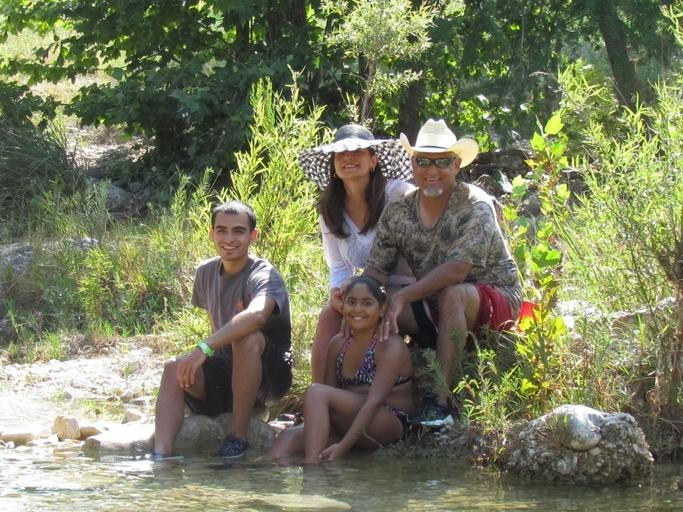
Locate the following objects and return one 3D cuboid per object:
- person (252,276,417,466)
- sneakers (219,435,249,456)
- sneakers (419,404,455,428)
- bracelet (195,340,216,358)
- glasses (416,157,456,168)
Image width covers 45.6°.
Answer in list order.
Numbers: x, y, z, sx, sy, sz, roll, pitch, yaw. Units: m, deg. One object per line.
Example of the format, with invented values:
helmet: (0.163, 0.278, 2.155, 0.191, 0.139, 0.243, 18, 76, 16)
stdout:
person: (0.126, 0.758, 5.710, 0.811, 1.258, 0.489, 0, -4, -9)
sneakers: (-0.745, 1.305, 5.652, 0.209, 0.142, 0.161, 1, -5, -13)
sneakers: (0.650, 1.106, 5.635, 0.244, 0.146, 0.086, -1, -4, 4)
bracelet: (-0.952, 0.631, 5.718, 0.136, 0.086, 0.118, 50, -9, -28)
glasses: (0.673, -0.683, 5.941, 0.257, 0.095, 0.057, -1, -4, 1)
